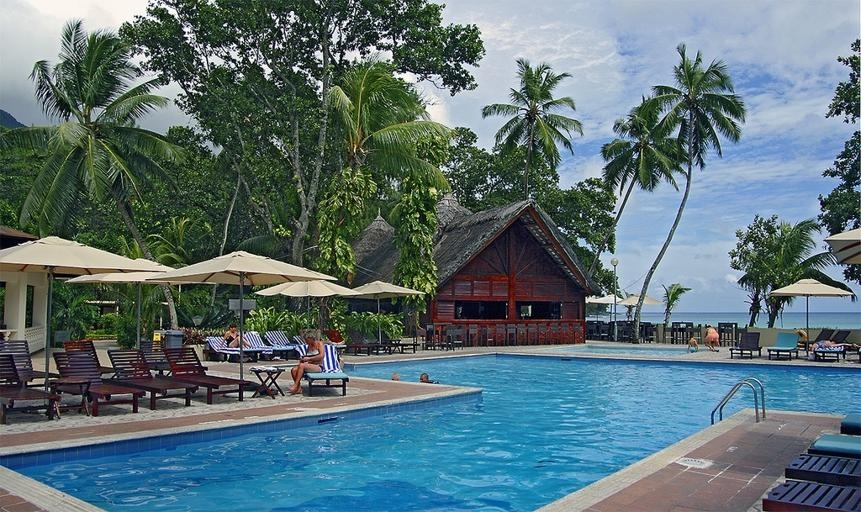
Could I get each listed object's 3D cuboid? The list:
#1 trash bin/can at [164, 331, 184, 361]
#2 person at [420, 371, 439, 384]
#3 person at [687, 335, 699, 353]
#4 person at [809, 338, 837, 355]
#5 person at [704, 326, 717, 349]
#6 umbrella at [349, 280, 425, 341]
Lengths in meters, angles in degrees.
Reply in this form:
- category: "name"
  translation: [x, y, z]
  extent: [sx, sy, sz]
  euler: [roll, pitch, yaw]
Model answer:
- category: "trash bin/can"
  translation: [-10.563, 3.639, 27.137]
  extent: [0.731, 0.984, 0.677]
  euler: [3, -6, -30]
- category: "person"
  translation: [-0.026, 4.790, 25.735]
  extent: [0.645, 0.303, 0.793]
  euler: [0, -12, 26]
- category: "person"
  translation: [15.978, 5.274, 40.029]
  extent: [0.573, 0.982, 1.916]
  euler: [0, 4, 16]
- category: "person"
  translation: [19.428, 4.396, 32.402]
  extent: [0.860, 0.586, 2.201]
  euler: [-6, -7, 39]
- category: "person"
  translation: [16.713, 4.749, 39.036]
  extent: [0.601, 1.375, 2.599]
  euler: [-3, -5, 24]
- category: "umbrella"
  translation: [-2.372, 3.089, 35.525]
  extent: [3.567, 2.913, 3.544]
  euler: [-2, 0, -14]
